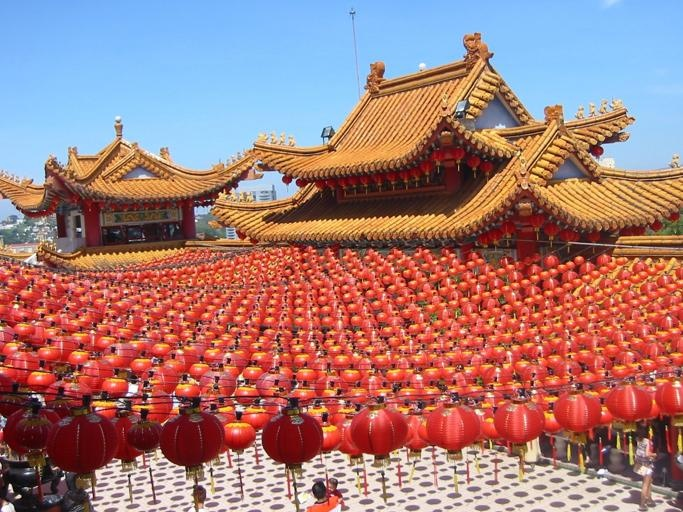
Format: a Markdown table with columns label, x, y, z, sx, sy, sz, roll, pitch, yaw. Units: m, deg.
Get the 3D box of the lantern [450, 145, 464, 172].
| label | x | y | z | sx | sy | sz | roll | pitch | yaw |
| --- | --- | --- | --- | --- | --- | --- | --- | --- | --- |
| lantern | 2.404 | -2.214 | 17.577 | 0.392 | 0.685 | 0.358 | -1 | -7 | 3 |
